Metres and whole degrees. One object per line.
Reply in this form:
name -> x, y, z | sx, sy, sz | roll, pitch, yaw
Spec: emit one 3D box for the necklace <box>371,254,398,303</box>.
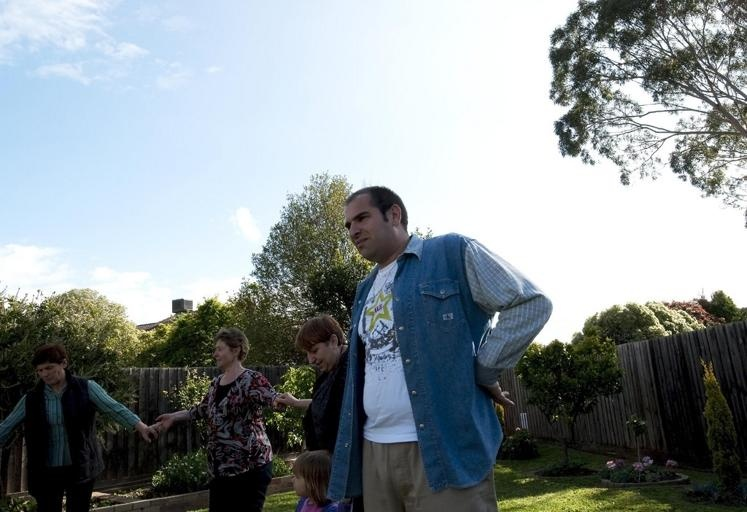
necklace -> 0.081, 0.172, 3.757 | 0.134, 0.268, 0.204 | 22, -61, -10
